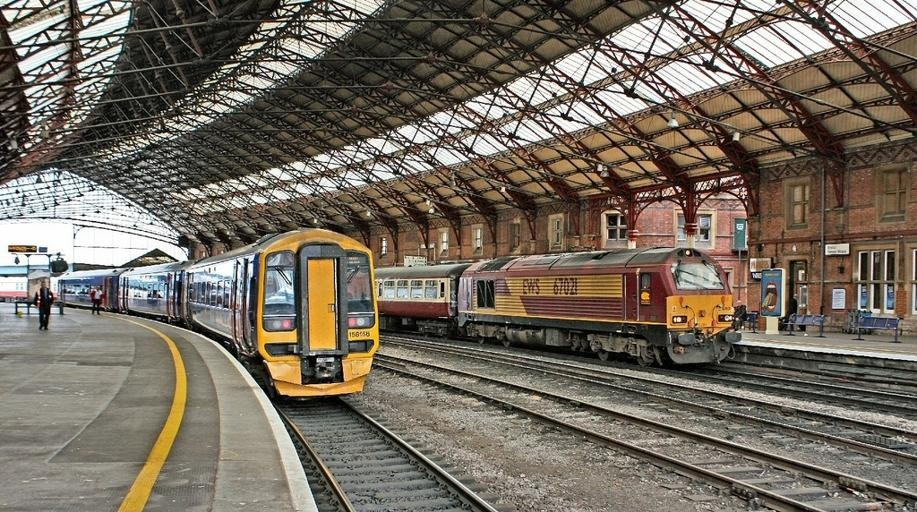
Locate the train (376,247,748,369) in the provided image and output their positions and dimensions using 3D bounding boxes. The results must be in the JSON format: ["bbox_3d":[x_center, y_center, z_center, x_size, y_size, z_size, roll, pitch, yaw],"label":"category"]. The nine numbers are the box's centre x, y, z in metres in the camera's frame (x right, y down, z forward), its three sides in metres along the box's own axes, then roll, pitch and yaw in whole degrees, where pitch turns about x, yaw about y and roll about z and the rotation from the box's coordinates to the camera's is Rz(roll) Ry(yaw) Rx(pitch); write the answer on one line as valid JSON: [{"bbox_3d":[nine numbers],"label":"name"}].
[{"bbox_3d":[5.809,2.627,32.772,3.455,5.359,16.088,3,-6,-36],"label":"train"}]

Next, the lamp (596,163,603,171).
[{"bbox_3d":[9.807,-6.119,43.719,0.571,0.564,0.883,2,7,2],"label":"lamp"}]
